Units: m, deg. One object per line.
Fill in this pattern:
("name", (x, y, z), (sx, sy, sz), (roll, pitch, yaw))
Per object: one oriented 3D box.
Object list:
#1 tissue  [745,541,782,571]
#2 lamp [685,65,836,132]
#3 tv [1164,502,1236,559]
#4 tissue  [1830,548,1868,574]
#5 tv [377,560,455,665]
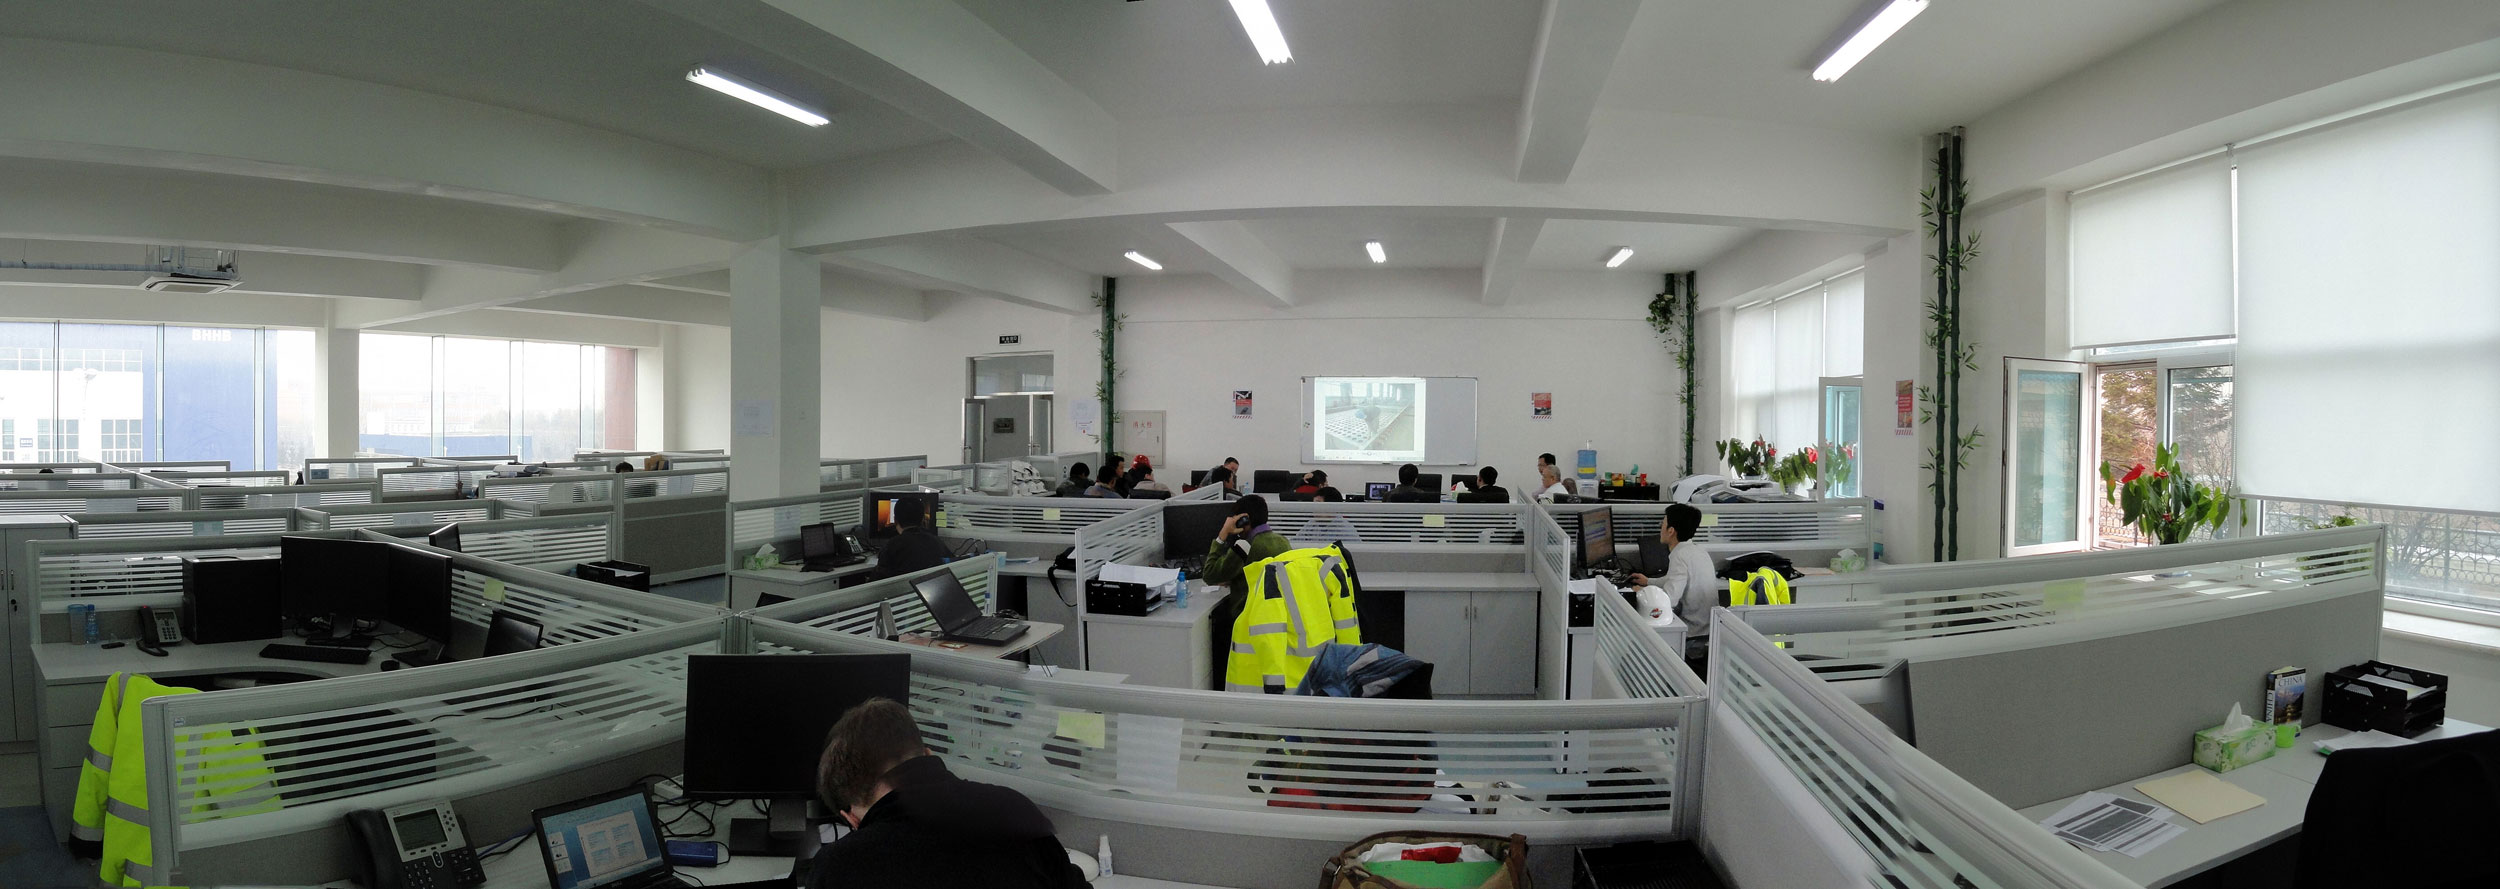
("tissue ", (-7.274, 1.699, 17.776), (0.580, 0.343, 0.368), (-3, 5, -30))
("lamp", (-7.391, -5.186, 17.881), (1.924, 0.623, 0.797), (-1, -1, -34))
("tv", (-0.759, 1.304, 17.911), (1.442, 0.820, 0.908), (0, 6, 4))
("tissue ", (8.899, 1.750, 17.743), (0.500, 0.224, 0.460), (-8, 3, -35))
("tv", (-11.126, 2.202, 15.877), (1.783, 1.105, 0.602), (14, 10, 28))
